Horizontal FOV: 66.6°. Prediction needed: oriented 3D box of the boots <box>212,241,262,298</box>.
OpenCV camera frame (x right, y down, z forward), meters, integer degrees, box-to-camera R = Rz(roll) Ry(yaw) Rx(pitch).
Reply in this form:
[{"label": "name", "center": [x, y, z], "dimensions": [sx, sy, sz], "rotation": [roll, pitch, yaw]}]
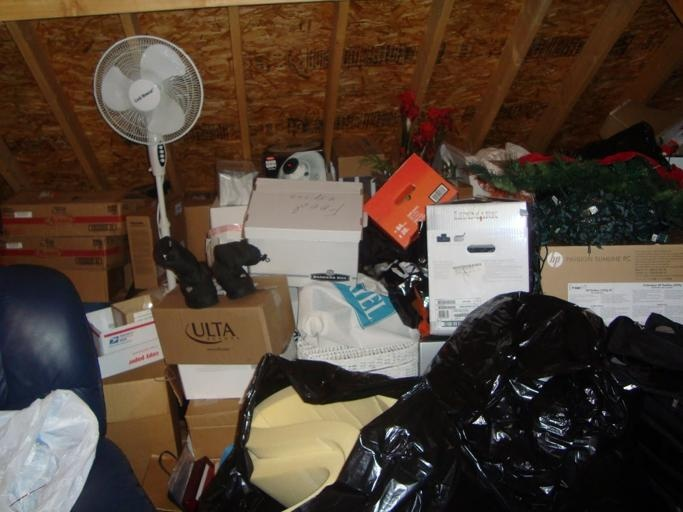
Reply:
[{"label": "boots", "center": [-0.489, 0.065, 2.473], "dimensions": [0.265, 0.272, 0.170], "rotation": [9, 5, 6]}]
